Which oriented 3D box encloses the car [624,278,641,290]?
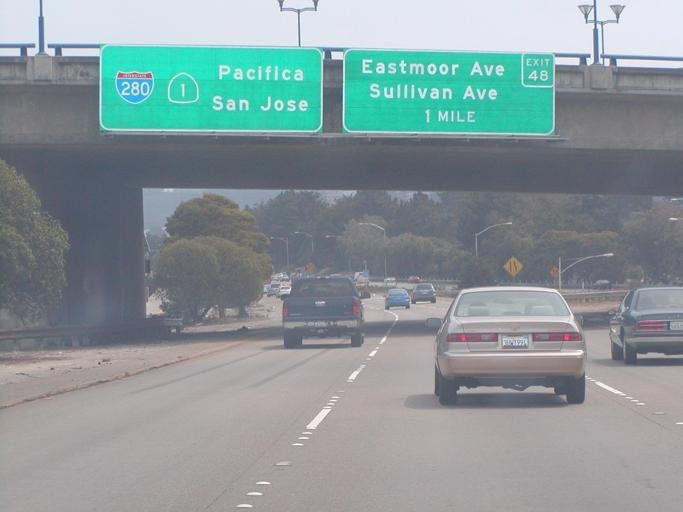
[{"bbox_3d":[32.694,3.232,110.134,1.775,1.042,3.138,1,5,12],"label":"car"}]

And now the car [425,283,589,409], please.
[{"bbox_3d":[3.277,1.835,19.099,2.835,2.263,1.080,-2,3,2],"label":"car"}]

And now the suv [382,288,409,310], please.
[{"bbox_3d":[4.201,3.424,74.791,1.342,1.192,3.386,0,6,2],"label":"suv"}]

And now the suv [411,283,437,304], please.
[{"bbox_3d":[6.830,3.270,81.171,1.354,1.301,3.133,0,3,3],"label":"suv"}]
